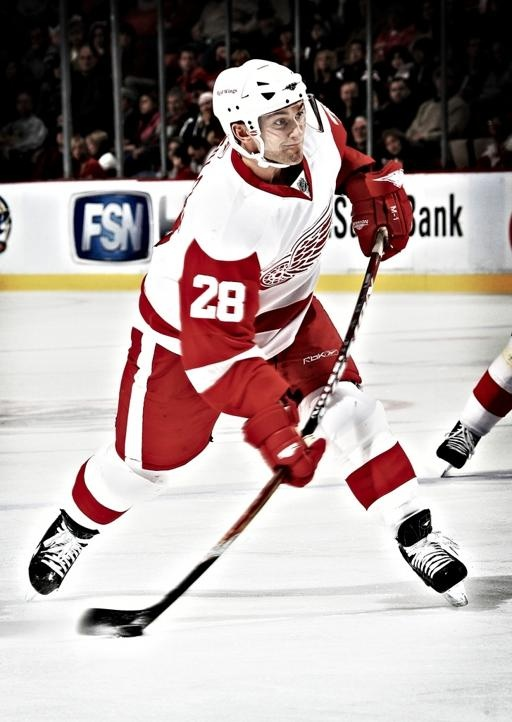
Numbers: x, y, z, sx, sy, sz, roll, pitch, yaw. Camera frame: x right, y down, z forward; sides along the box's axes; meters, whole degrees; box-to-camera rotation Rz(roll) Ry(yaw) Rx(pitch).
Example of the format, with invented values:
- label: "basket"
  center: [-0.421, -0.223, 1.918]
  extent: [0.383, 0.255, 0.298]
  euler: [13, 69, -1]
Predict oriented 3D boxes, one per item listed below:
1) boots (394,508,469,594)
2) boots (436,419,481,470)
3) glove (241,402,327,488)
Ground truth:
- label: "boots"
  center: [0.316, 0.371, 1.648]
  extent: [0.086, 0.113, 0.249]
  euler: [-39, 12, 1]
- label: "boots"
  center: [0.643, 0.266, 2.533]
  extent: [0.099, 0.089, 0.256]
  euler: [-56, -10, 19]
- label: "glove"
  center: [0.044, 0.139, 1.361]
  extent: [0.117, 0.155, 0.067]
  euler: [-36, 7, 16]
